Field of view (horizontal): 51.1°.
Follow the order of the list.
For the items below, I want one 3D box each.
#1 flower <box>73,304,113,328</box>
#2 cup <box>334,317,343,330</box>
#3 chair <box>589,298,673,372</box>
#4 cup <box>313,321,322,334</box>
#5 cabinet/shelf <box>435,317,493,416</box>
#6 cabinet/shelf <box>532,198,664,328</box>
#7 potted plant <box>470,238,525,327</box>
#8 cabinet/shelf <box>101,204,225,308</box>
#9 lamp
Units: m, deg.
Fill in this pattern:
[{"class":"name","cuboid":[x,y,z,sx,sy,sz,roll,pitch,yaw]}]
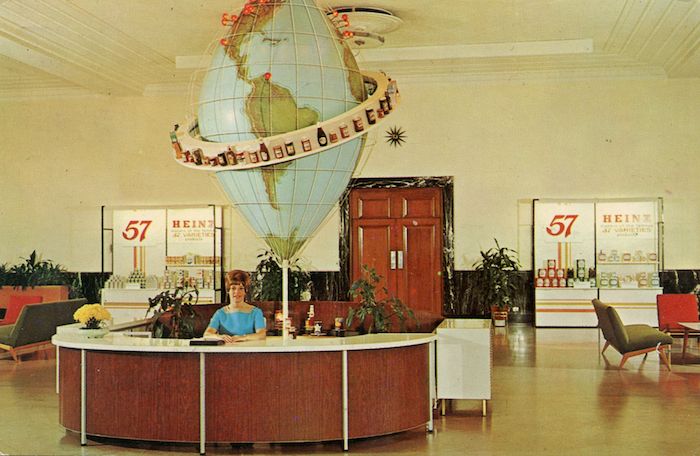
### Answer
[{"class":"flower","cuboid":[-3.756,1.291,10.867,0.438,0.363,0.450,1,-3,0]},{"class":"cup","cuboid":[-0.174,1.616,12.341,0.178,0.177,0.174,1,-2,0]},{"class":"chair","cuboid":[5.251,1.962,13.805,1.311,0.888,1.556,1,1,1]},{"class":"cup","cuboid":[-0.546,1.650,12.117,0.170,0.182,0.168,1,2,0]},{"class":"cabinet/shelf","cuboid":[1.740,2.022,12.023,1.143,1.820,2.068,-1,-2,7]},{"class":"cabinet/shelf","cuboid":[5.693,0.823,16.471,3.113,2.942,0.988,0,-4,3]},{"class":"potted plant","cuboid":[3.508,1.248,16.981,0.974,1.887,0.712,-11,17,-37]},{"class":"cabinet/shelf","cuboid":[-4.182,0.659,16.884,2.524,2.171,0.819,-1,-4,6]},{"class":"lamp","cuboid":[0.422,-4.086,14.796,1.277,0.734,1.363,1,13,6]}]
